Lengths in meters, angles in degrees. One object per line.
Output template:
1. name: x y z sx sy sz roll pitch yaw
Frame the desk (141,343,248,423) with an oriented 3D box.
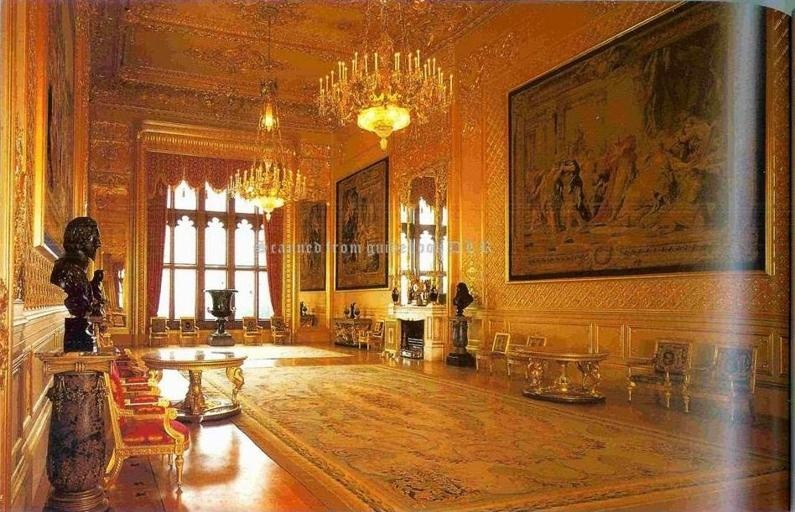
1. desk: -2.751 1.719 8.158 1.207 0.662 1.176 0 2 1

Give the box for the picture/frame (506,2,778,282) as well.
1. picture/frame: 4.017 -1.827 9.116 0.090 3.549 5.385 3 -6 -25

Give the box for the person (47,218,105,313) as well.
1. person: -2.972 0.107 5.231 0.412 0.933 0.350 -1 2 -30

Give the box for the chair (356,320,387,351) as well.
1. chair: -0.742 2.192 15.582 0.629 0.802 1.205 -1 0 -20

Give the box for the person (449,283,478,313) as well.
1. person: 1.477 0.953 12.304 0.463 0.739 0.756 0 1 7
